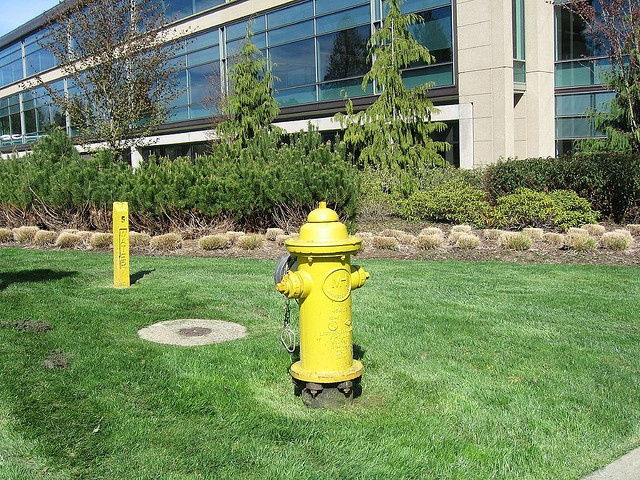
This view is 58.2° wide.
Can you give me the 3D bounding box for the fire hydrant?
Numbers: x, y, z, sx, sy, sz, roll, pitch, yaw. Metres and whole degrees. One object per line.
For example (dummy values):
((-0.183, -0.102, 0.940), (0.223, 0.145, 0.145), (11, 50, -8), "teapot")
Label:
((0.019, 0.564, 5.450), (0.756, 1.813, 0.480), (1, 9, 7), "fire hydrant")
